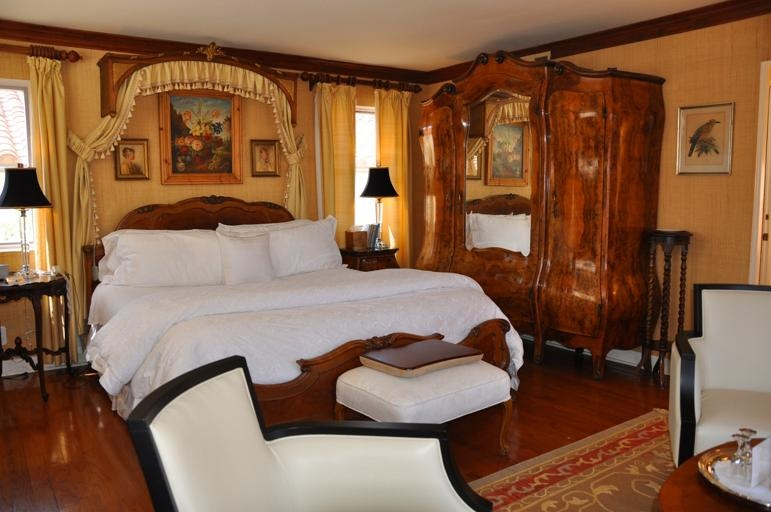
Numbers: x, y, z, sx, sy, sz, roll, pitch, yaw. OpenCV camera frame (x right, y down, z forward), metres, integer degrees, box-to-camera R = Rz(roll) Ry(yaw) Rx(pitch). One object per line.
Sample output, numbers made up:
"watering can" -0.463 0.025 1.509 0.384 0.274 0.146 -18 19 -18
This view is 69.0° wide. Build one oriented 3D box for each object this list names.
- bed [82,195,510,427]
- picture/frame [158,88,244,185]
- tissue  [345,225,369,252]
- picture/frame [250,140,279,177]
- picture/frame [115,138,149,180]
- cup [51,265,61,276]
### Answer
"bed" -0.709 0.530 4.469 2.331 1.099 2.208 -4 8 -31
"picture/frame" -2.065 -1.329 6.156 1.078 1.176 0.068 -1 7 -28
"tissue " -0.339 -0.202 6.802 0.276 0.336 0.367 0 1 36
"picture/frame" -1.423 -1.148 6.538 0.447 0.529 0.057 -3 4 -32
"picture/frame" -2.675 -1.025 5.889 0.443 0.545 0.059 -3 5 -32
"cup" -3.105 0.127 5.316 0.081 0.094 0.101 -5 27 -38
